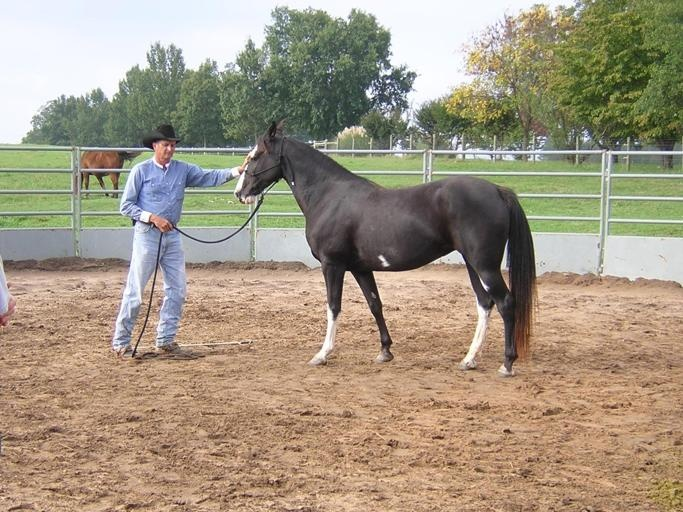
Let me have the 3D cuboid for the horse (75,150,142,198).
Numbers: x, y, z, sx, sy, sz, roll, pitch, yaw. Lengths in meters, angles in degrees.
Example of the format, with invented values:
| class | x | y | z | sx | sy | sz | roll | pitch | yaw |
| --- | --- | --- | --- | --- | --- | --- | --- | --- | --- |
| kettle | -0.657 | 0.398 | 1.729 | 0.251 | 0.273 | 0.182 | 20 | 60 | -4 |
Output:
| class | x | y | z | sx | sy | sz | roll | pitch | yaw |
| --- | --- | --- | --- | --- | --- | --- | --- | --- | --- |
| horse | -5.228 | -1.870 | 18.118 | 1.972 | 1.220 | 0.483 | 6 | 8 | 35 |

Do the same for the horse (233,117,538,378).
| class | x | y | z | sx | sy | sz | roll | pitch | yaw |
| --- | --- | --- | --- | --- | --- | --- | --- | --- | --- |
| horse | 0.410 | -0.007 | 8.684 | 3.240 | 2.354 | 0.873 | 5 | 6 | 16 |

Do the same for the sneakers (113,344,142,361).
| class | x | y | z | sx | sy | sz | roll | pitch | yaw |
| --- | --- | --- | --- | --- | --- | --- | --- | --- | --- |
| sneakers | -2.279 | 1.019 | 8.700 | 0.353 | 0.171 | 0.133 | 0 | 4 | 25 |

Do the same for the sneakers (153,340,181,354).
| class | x | y | z | sx | sy | sz | roll | pitch | yaw |
| --- | --- | --- | --- | --- | --- | --- | --- | --- | --- |
| sneakers | -1.881 | 0.982 | 8.870 | 0.286 | 0.144 | 0.117 | -3 | 4 | 14 |
